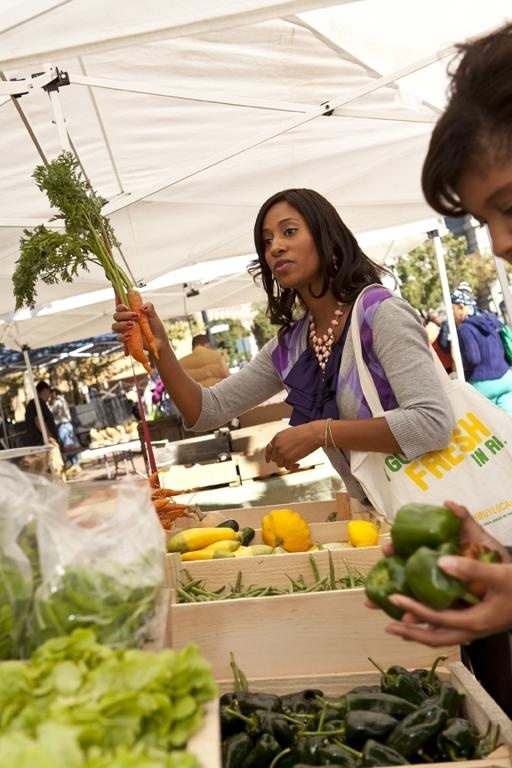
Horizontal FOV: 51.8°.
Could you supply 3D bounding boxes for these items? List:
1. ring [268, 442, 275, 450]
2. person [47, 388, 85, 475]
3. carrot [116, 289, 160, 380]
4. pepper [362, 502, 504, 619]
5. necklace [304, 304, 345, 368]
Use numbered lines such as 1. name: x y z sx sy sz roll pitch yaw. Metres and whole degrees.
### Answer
1. ring: 0.068 0.254 2.166 0.036 0.024 0.019 -36 32 -31
2. person: -4.375 1.017 12.164 0.850 2.510 0.828 1 8 3
3. carrot: -0.509 -0.197 2.340 0.150 0.432 0.112 -9 14 11
4. pepper: 0.269 0.251 0.786 0.124 0.147 0.232 9 13 40
5. necklace: 0.310 -0.206 2.316 0.090 0.240 0.185 20 -25 -33
